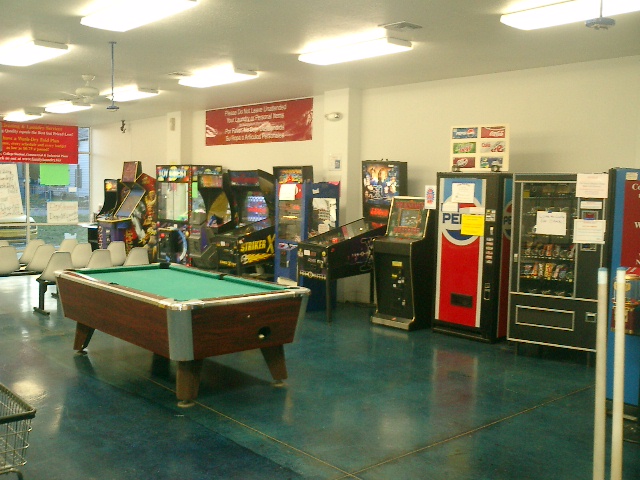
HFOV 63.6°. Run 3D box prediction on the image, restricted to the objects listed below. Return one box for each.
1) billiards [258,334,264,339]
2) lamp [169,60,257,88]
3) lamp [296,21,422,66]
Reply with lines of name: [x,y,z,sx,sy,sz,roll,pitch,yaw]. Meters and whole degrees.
billiards: [-0.567,0.940,5.029,0.051,0.028,0.047,2,-1,-32]
lamp: [-1.546,-2.529,7.960,0.687,0.156,1.411,-6,10,-42]
lamp: [0.486,-2.298,6.097,1.720,0.168,0.678,8,10,43]
